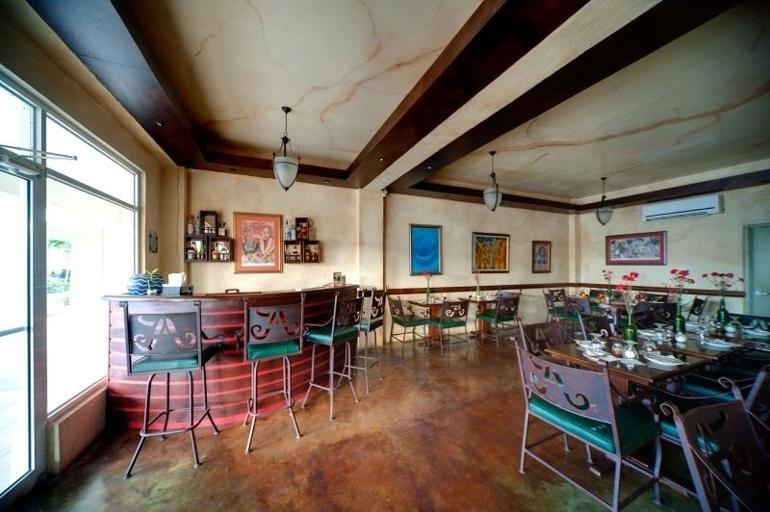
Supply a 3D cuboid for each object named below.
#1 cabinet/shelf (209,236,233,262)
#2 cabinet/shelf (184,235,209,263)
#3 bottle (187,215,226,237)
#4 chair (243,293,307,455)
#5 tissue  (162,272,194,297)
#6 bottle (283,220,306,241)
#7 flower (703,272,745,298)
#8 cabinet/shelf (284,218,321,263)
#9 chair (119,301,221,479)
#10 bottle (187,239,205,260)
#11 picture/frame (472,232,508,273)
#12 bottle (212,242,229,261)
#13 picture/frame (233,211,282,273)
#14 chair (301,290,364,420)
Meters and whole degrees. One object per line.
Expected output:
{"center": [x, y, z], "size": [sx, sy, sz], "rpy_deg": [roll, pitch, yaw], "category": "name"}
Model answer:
{"center": [-2.344, -0.100, 6.586], "size": [0.357, 0.392, 0.127], "rpy_deg": [3, -9, -27], "category": "cabinet/shelf"}
{"center": [-2.642, -0.106, 6.462], "size": [0.347, 0.456, 0.238], "rpy_deg": [4, -9, -26], "category": "cabinet/shelf"}
{"center": [-2.486, -0.431, 6.554], "size": [0.585, 0.309, 0.132], "rpy_deg": [-1, -2, -19], "category": "bottle"}
{"center": [-1.237, 1.273, 5.174], "size": [0.660, 1.590, 0.673], "rpy_deg": [-1, -2, -16], "category": "chair"}
{"center": [-2.404, 0.341, 5.454], "size": [0.298, 0.131, 0.394], "rpy_deg": [1, 3, -3], "category": "tissue "}
{"center": [-1.390, -0.386, 7.013], "size": [0.325, 0.298, 0.104], "rpy_deg": [1, 4, -18], "category": "bottle"}
{"center": [5.286, 0.457, 7.245], "size": [0.439, 0.262, 0.432], "rpy_deg": [0, 5, 0], "category": "flower"}
{"center": [-1.291, -0.230, 7.065], "size": [0.708, 0.782, 0.211], "rpy_deg": [1, -3, -29], "category": "cabinet/shelf"}
{"center": [-2.256, 1.338, 4.881], "size": [0.937, 1.748, 0.775], "rpy_deg": [-1, -2, -12], "category": "chair"}
{"center": [-2.637, -0.098, 6.476], "size": [0.244, 0.300, 0.100], "rpy_deg": [-1, -2, -23], "category": "bottle"}
{"center": [1.927, -0.070, 8.775], "size": [0.814, 0.655, 0.078], "rpy_deg": [0, 2, -21], "category": "picture/frame"}
{"center": [-2.346, -0.061, 6.580], "size": [0.217, 0.213, 0.398], "rpy_deg": [4, -7, -12], "category": "bottle"}
{"center": [-1.913, -0.204, 6.823], "size": [0.923, 1.167, 0.053], "rpy_deg": [-1, 2, -29], "category": "picture/frame"}
{"center": [-0.677, 1.166, 5.789], "size": [0.737, 1.431, 1.080], "rpy_deg": [-1, -2, -11], "category": "chair"}
